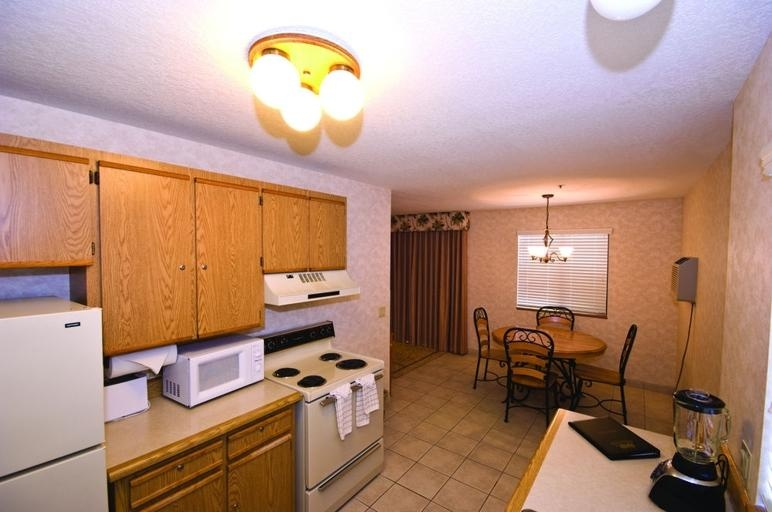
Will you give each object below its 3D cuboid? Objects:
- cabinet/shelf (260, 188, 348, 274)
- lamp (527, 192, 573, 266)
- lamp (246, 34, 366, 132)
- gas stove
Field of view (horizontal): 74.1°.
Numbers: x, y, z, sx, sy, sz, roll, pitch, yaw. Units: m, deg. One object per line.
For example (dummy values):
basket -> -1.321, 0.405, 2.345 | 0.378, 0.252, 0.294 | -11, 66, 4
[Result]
cabinet/shelf -> -0.716, -0.204, 4.282 | 0.289, 0.635, 0.842 | 3, 2, 41
lamp -> 1.908, -0.324, 6.014 | 0.562, 0.729, 0.522 | -4, 5, 1
lamp -> -0.485, -1.054, 2.837 | 0.483, 0.149, 0.446 | 2, -1, -21
gas stove -> -0.572, 0.995, 4.356 | 0.657, 0.592, 0.924 | 19, 15, 34
